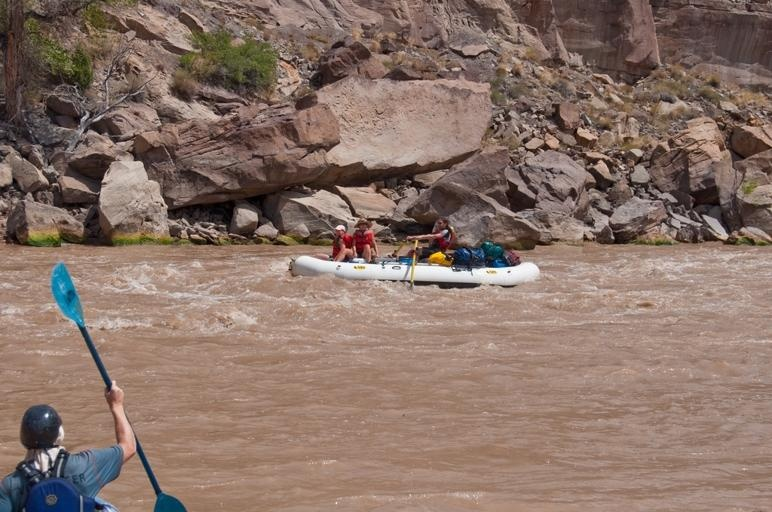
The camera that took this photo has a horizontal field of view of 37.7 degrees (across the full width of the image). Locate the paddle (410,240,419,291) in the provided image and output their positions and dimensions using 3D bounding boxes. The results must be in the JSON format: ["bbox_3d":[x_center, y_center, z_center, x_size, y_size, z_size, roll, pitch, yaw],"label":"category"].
[{"bbox_3d":[0.828,0.255,33.939,0.264,1.401,0.220,7,-11,-1],"label":"paddle"}]

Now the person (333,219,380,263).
[{"bbox_3d":[-1.118,-0.434,34.716,1.180,1.299,2.046,10,13,44],"label":"person"}]
